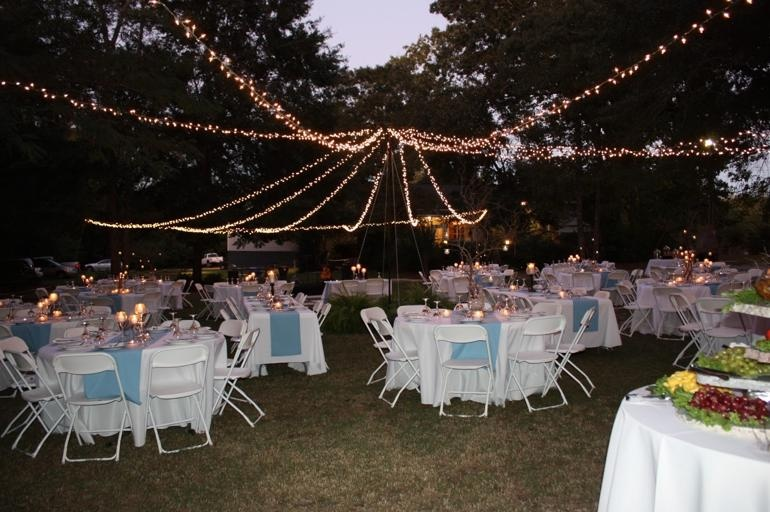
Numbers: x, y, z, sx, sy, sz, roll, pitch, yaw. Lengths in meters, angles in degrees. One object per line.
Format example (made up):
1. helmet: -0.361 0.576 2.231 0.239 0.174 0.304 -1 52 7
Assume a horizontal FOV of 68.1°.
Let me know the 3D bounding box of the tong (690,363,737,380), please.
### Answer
1. tong: 2.466 0.868 4.278 0.294 0.088 0.095 12 40 24
